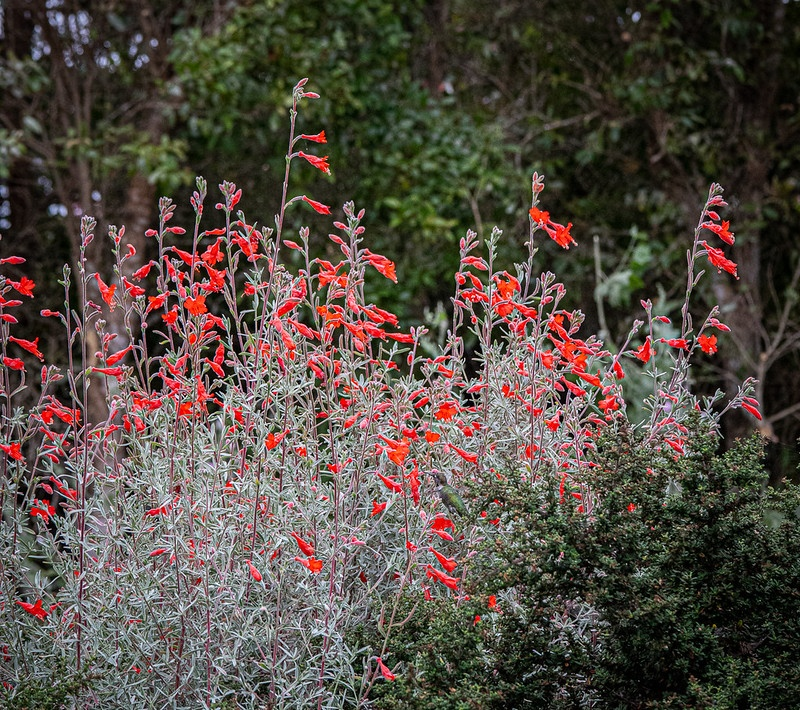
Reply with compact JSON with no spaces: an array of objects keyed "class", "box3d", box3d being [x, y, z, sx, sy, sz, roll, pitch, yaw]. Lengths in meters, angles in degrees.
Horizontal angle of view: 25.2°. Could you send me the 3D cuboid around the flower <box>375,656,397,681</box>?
[{"class":"flower","box3d":[-0.049,1.213,6.995,0.037,0.036,0.107,-15,19,-12]}]
